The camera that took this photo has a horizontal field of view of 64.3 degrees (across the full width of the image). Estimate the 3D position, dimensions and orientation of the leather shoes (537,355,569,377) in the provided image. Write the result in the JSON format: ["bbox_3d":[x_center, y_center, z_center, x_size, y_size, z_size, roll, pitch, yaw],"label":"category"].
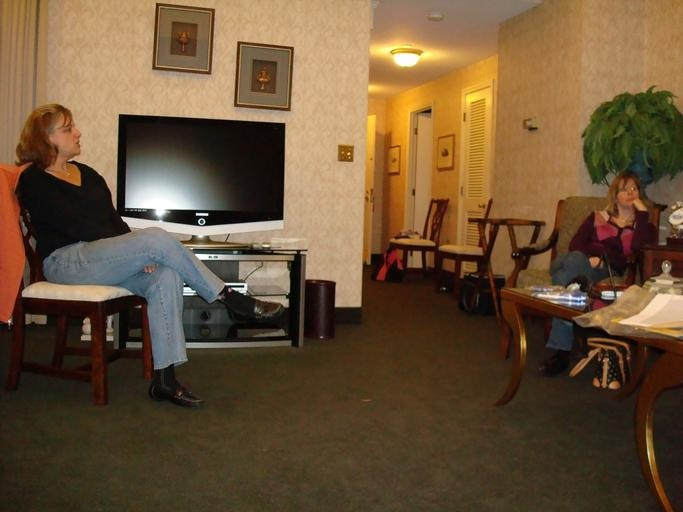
[{"bbox_3d":[1.207,0.629,3.116,0.180,0.074,0.096,-7,21,-34],"label":"leather shoes"}]

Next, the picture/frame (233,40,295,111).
[{"bbox_3d":[-0.603,-1.356,4.071,0.482,0.593,0.043,3,1,-17],"label":"picture/frame"}]

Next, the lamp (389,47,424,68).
[{"bbox_3d":[0.789,-2.317,6.356,0.300,0.172,0.466,6,9,32],"label":"lamp"}]

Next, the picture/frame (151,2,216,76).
[{"bbox_3d":[-1.164,-1.588,3.936,0.487,0.603,0.040,3,3,-12],"label":"picture/frame"}]

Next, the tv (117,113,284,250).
[{"bbox_3d":[-0.948,-0.495,3.581,0.874,0.683,0.235,1,-1,-11],"label":"tv"}]

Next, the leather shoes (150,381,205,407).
[{"bbox_3d":[-0.788,0.668,2.631,0.296,0.121,0.104,5,16,9],"label":"leather shoes"}]

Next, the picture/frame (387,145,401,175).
[{"bbox_3d":[0.846,-1.536,8.727,0.065,0.517,0.506,1,5,-15],"label":"picture/frame"}]
